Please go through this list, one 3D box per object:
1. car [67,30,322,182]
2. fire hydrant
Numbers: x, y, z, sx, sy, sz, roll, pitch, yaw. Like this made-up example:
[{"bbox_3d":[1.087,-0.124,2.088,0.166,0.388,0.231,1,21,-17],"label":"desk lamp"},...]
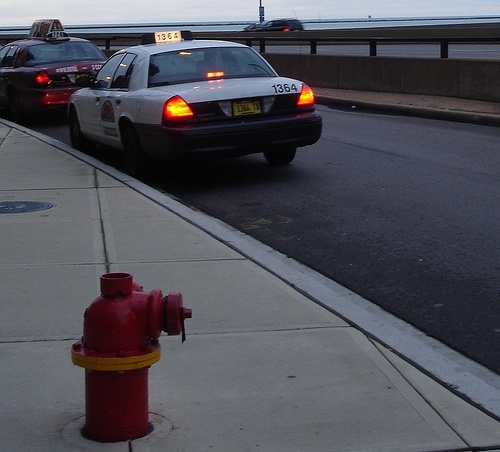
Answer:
[{"bbox_3d":[-1.347,-1.996,8.591,2.192,1.305,3.839,-10,19,-31],"label":"car"},{"bbox_3d":[-0.445,0.506,2.034,0.431,0.677,0.250,-6,13,-16],"label":"fire hydrant"}]
